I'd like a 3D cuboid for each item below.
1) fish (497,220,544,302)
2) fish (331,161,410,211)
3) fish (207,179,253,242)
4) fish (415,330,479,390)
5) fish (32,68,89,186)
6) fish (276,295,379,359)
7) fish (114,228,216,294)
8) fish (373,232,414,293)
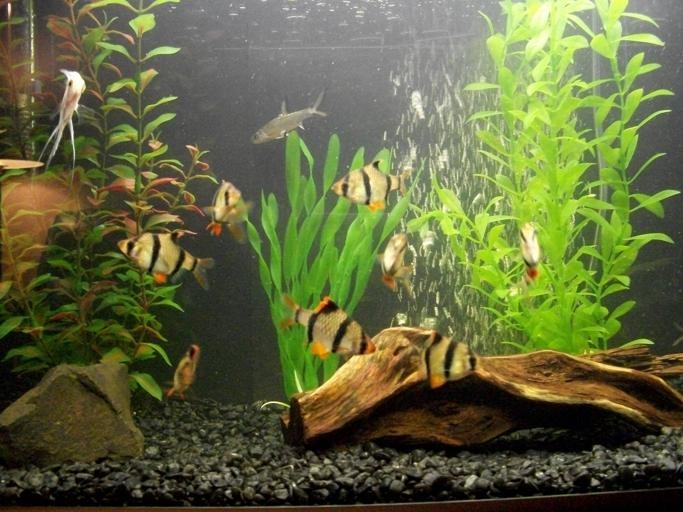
[{"bbox_3d":[1.244,0.051,4.460,0.112,0.648,0.320,8,43,15],"label":"fish"},{"bbox_3d":[0.213,-0.461,4.256,0.559,0.333,0.097,-6,15,-20],"label":"fish"},{"bbox_3d":[-0.760,-0.303,4.386,0.281,0.450,0.258,12,8,39],"label":"fish"},{"bbox_3d":[0.642,0.631,3.940,0.335,0.167,0.334,-33,65,-13],"label":"fish"},{"bbox_3d":[-1.862,-0.871,4.306,0.335,0.720,0.793,-3,17,-21],"label":"fish"},{"bbox_3d":[-0.106,0.460,3.936,0.657,0.373,0.146,16,17,20],"label":"fish"},{"bbox_3d":[-1.101,0.033,4.116,0.261,0.430,0.587,10,18,23],"label":"fish"},{"bbox_3d":[0.404,0.041,4.253,0.177,0.349,0.345,-3,19,-15],"label":"fish"}]
